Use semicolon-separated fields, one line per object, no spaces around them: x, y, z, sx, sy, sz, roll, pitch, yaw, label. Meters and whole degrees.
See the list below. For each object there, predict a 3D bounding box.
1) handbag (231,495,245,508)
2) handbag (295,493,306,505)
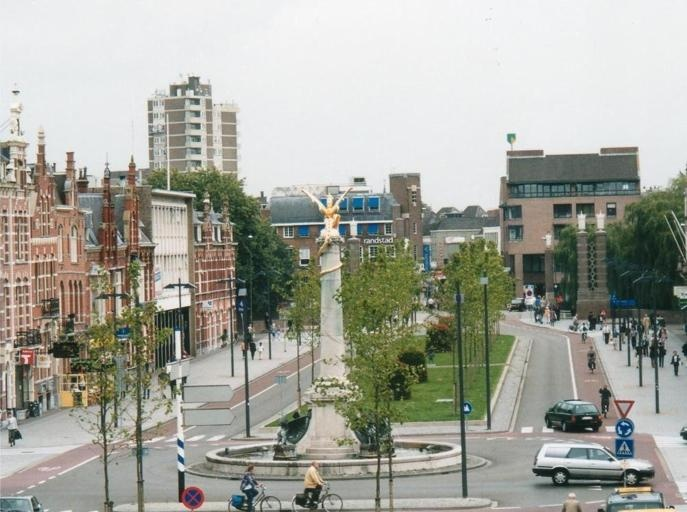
-5.591;13.258;101.223;0.709;0.650;0.551;5;-8;1;handbag
-2.272;13.135;101.126;0.631;0.608;0.328;2;7;11;handbag
